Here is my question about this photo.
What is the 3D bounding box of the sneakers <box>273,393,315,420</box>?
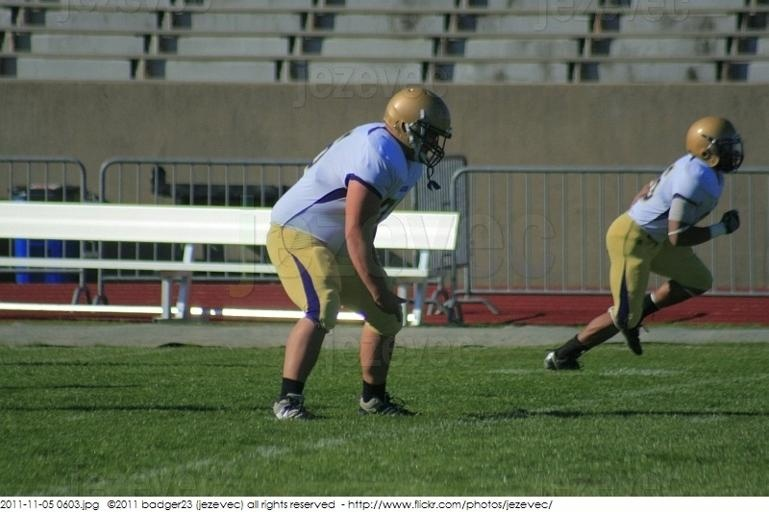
[{"bbox_3d":[-1.083,1.855,22.080,0.424,0.231,0.276,1,1,30],"label":"sneakers"}]

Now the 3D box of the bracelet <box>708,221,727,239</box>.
[{"bbox_3d":[4.361,-0.317,23.674,0.157,0.130,0.416,4,10,43],"label":"bracelet"}]

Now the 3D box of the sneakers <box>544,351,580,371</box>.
[{"bbox_3d":[2.331,1.397,23.618,0.394,0.191,0.232,9,-4,4],"label":"sneakers"}]

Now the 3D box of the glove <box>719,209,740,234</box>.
[{"bbox_3d":[4.529,-0.396,23.683,0.153,0.410,0.160,17,-6,-41],"label":"glove"}]
